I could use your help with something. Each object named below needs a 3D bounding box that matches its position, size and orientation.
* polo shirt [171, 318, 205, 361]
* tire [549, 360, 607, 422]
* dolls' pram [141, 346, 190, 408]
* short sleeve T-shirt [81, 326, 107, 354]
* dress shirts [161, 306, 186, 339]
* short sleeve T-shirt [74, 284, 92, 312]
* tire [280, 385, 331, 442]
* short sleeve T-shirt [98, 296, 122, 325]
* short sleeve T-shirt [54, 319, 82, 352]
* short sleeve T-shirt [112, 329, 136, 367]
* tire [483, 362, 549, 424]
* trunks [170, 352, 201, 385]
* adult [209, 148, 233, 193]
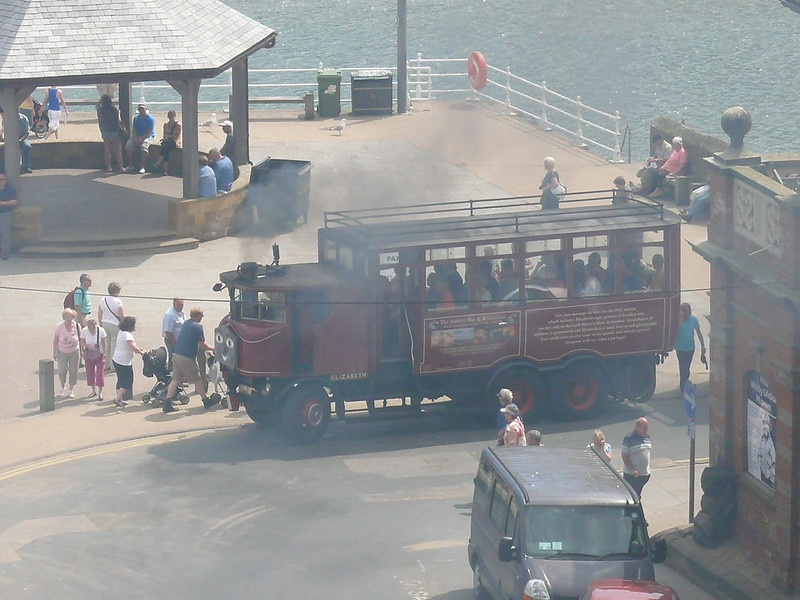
[{"bbox_3d":[-3.688,0.714,29.786,0.553,0.598,0.347,31,14,33],"label":"polo shirt"},{"bbox_3d":[3.136,1.597,30.083,1.118,1.074,0.374,0,8,-17],"label":"tire"},{"bbox_3d":[-4.261,1.367,30.180,1.027,1.245,0.843,-3,10,-11],"label":"dolls' pram"},{"bbox_3d":[-5.398,0.723,30.051,0.494,0.479,0.267,-1,2,-13],"label":"short sleeve T-shirt"},{"bbox_3d":[-4.016,0.430,30.408,0.299,0.425,0.515,5,20,11],"label":"dress shirts"},{"bbox_3d":[-5.795,-0.014,31.180,0.265,0.484,0.464,-1,7,14],"label":"short sleeve T-shirt"},{"bbox_3d":[-1.578,1.903,28.741,0.912,0.990,0.321,-6,10,-39],"label":"tire"},{"bbox_3d":[-5.184,0.217,30.611,0.425,0.432,0.252,9,25,15],"label":"short sleeve T-shirt"},{"bbox_3d":[-5.851,0.664,30.176,0.536,0.569,0.329,-4,10,-25],"label":"short sleeve T-shirt"},{"bbox_3d":[-4.869,0.849,30.054,0.373,0.554,0.566,-6,19,-25],"label":"short sleeve T-shirt"},{"bbox_3d":[2.154,1.715,29.913,1.211,1.177,0.442,-17,-15,33],"label":"tire"},{"bbox_3d":[-3.725,1.206,29.847,0.454,0.421,0.254,14,35,14],"label":"trunks"},{"bbox_3d":[-4.063,-2.885,38.259,0.622,0.991,0.591,-13,31,-15],"label":"adult"}]
